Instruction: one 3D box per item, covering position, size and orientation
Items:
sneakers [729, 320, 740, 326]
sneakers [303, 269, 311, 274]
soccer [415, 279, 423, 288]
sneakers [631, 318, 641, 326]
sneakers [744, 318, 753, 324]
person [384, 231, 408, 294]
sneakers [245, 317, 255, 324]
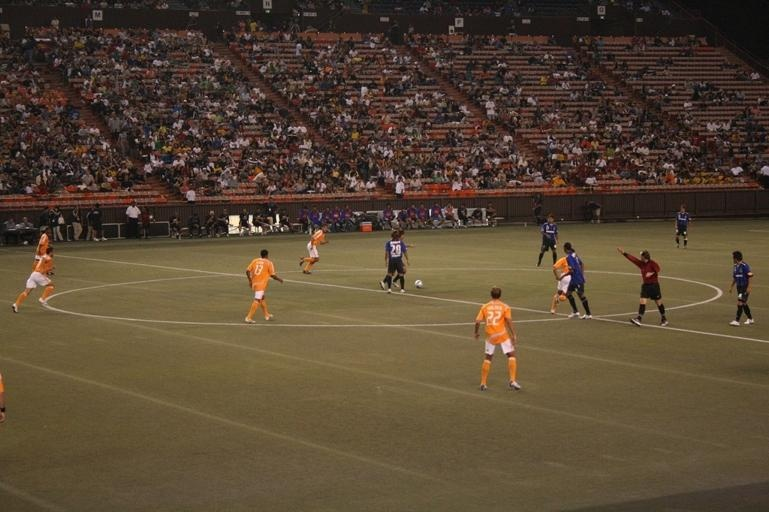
[{"bbox_3d":[11.440,2.197,30.013,0.144,0.138,0.356,0,4,4],"label":"sneakers"},{"bbox_3d":[-3.477,0.724,41.131,0.324,0.129,0.137,-1,3,25],"label":"sneakers"},{"bbox_3d":[1.421,1.180,37.098,0.293,0.314,0.270,26,-36,-20],"label":"soccer"},{"bbox_3d":[8.212,2.141,29.922,0.235,0.120,0.333,-20,23,-18],"label":"sneakers"},{"bbox_3d":[12.026,2.145,30.246,0.143,0.156,0.378,-2,9,7],"label":"sneakers"},{"bbox_3d":[0.449,0.170,36.165,0.852,2.514,1.483,0,12,0],"label":"person"},{"bbox_3d":[-4.420,2.141,30.293,0.397,0.169,0.131,1,6,-21],"label":"sneakers"}]
